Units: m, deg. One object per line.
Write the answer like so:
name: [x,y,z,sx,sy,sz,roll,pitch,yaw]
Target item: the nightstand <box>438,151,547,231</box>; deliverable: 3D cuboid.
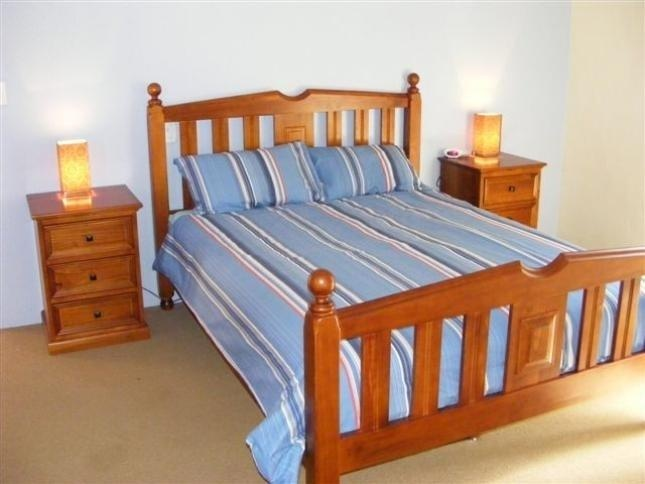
nightstand: [1.185,-0.449,3.978,0.626,0.811,0.562,-12,24,-28]
